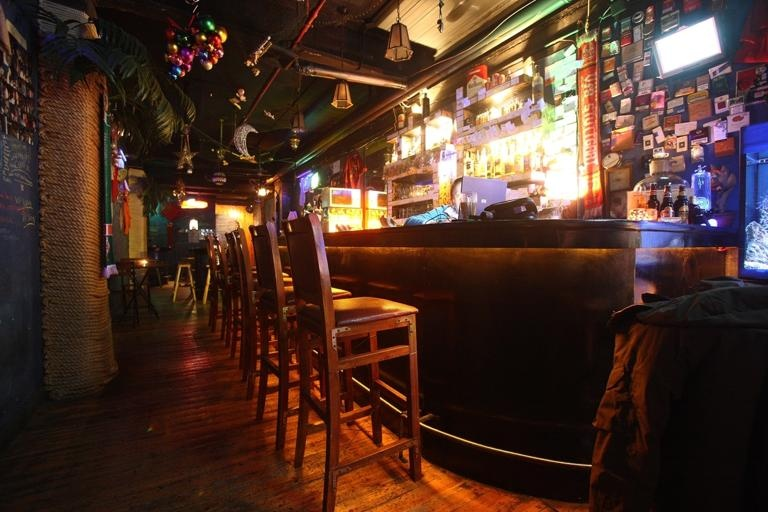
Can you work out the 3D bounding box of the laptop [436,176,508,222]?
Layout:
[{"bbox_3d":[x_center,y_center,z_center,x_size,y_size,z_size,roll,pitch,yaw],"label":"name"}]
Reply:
[{"bbox_3d":[0.827,-0.541,5.285,0.610,0.412,0.474,-7,11,-34],"label":"laptop"}]

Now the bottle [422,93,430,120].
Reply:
[{"bbox_3d":[0.561,-2.045,7.557,0.096,0.373,0.220,-2,3,1],"label":"bottle"}]

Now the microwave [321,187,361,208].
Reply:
[{"bbox_3d":[-0.702,-0.988,9.377,0.657,0.334,0.307,-3,3,-7],"label":"microwave"}]

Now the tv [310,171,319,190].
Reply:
[{"bbox_3d":[-1.568,-1.742,12.809,0.079,0.329,0.337,6,-3,-34],"label":"tv"}]

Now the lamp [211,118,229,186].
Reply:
[{"bbox_3d":[-3.844,-2.501,13.081,0.531,1.747,0.502,-3,14,-26],"label":"lamp"}]

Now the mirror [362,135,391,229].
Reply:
[{"bbox_3d":[-0.228,-1.219,10.574,0.573,1.878,0.546,4,4,-8],"label":"mirror"}]

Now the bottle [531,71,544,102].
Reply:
[{"bbox_3d":[1.717,-1.902,6.275,0.144,0.377,0.261,-1,3,15],"label":"bottle"}]
